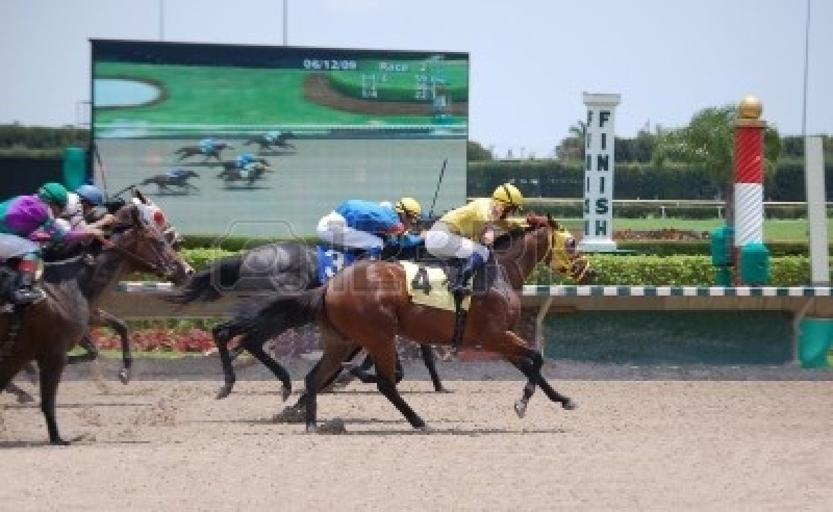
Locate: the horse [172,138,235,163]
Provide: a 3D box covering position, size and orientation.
[{"bbox_3d":[-2.938,-1.427,22.568,0.816,0.339,0.239,1,2,-8],"label":"horse"}]

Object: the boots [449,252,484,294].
[{"bbox_3d":[0.555,0.186,18.728,0.230,0.447,0.420,7,12,33],"label":"boots"}]

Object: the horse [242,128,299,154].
[{"bbox_3d":[-1.994,-1.561,22.668,0.819,0.292,0.267,-3,2,-1],"label":"horse"}]

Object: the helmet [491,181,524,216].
[{"bbox_3d":[1.048,-0.623,19.473,0.396,0.329,0.299,8,-7,-20],"label":"helmet"}]

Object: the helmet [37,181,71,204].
[{"bbox_3d":[-4.156,-0.704,18.830,0.298,0.222,0.263,11,-29,-32],"label":"helmet"}]

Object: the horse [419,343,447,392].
[{"bbox_3d":[0.181,1.318,19.977,0.246,0.731,0.208,-17,19,9],"label":"horse"}]

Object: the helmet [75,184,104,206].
[{"bbox_3d":[-3.877,-0.670,19.456,0.292,0.237,0.245,39,28,25],"label":"helmet"}]
